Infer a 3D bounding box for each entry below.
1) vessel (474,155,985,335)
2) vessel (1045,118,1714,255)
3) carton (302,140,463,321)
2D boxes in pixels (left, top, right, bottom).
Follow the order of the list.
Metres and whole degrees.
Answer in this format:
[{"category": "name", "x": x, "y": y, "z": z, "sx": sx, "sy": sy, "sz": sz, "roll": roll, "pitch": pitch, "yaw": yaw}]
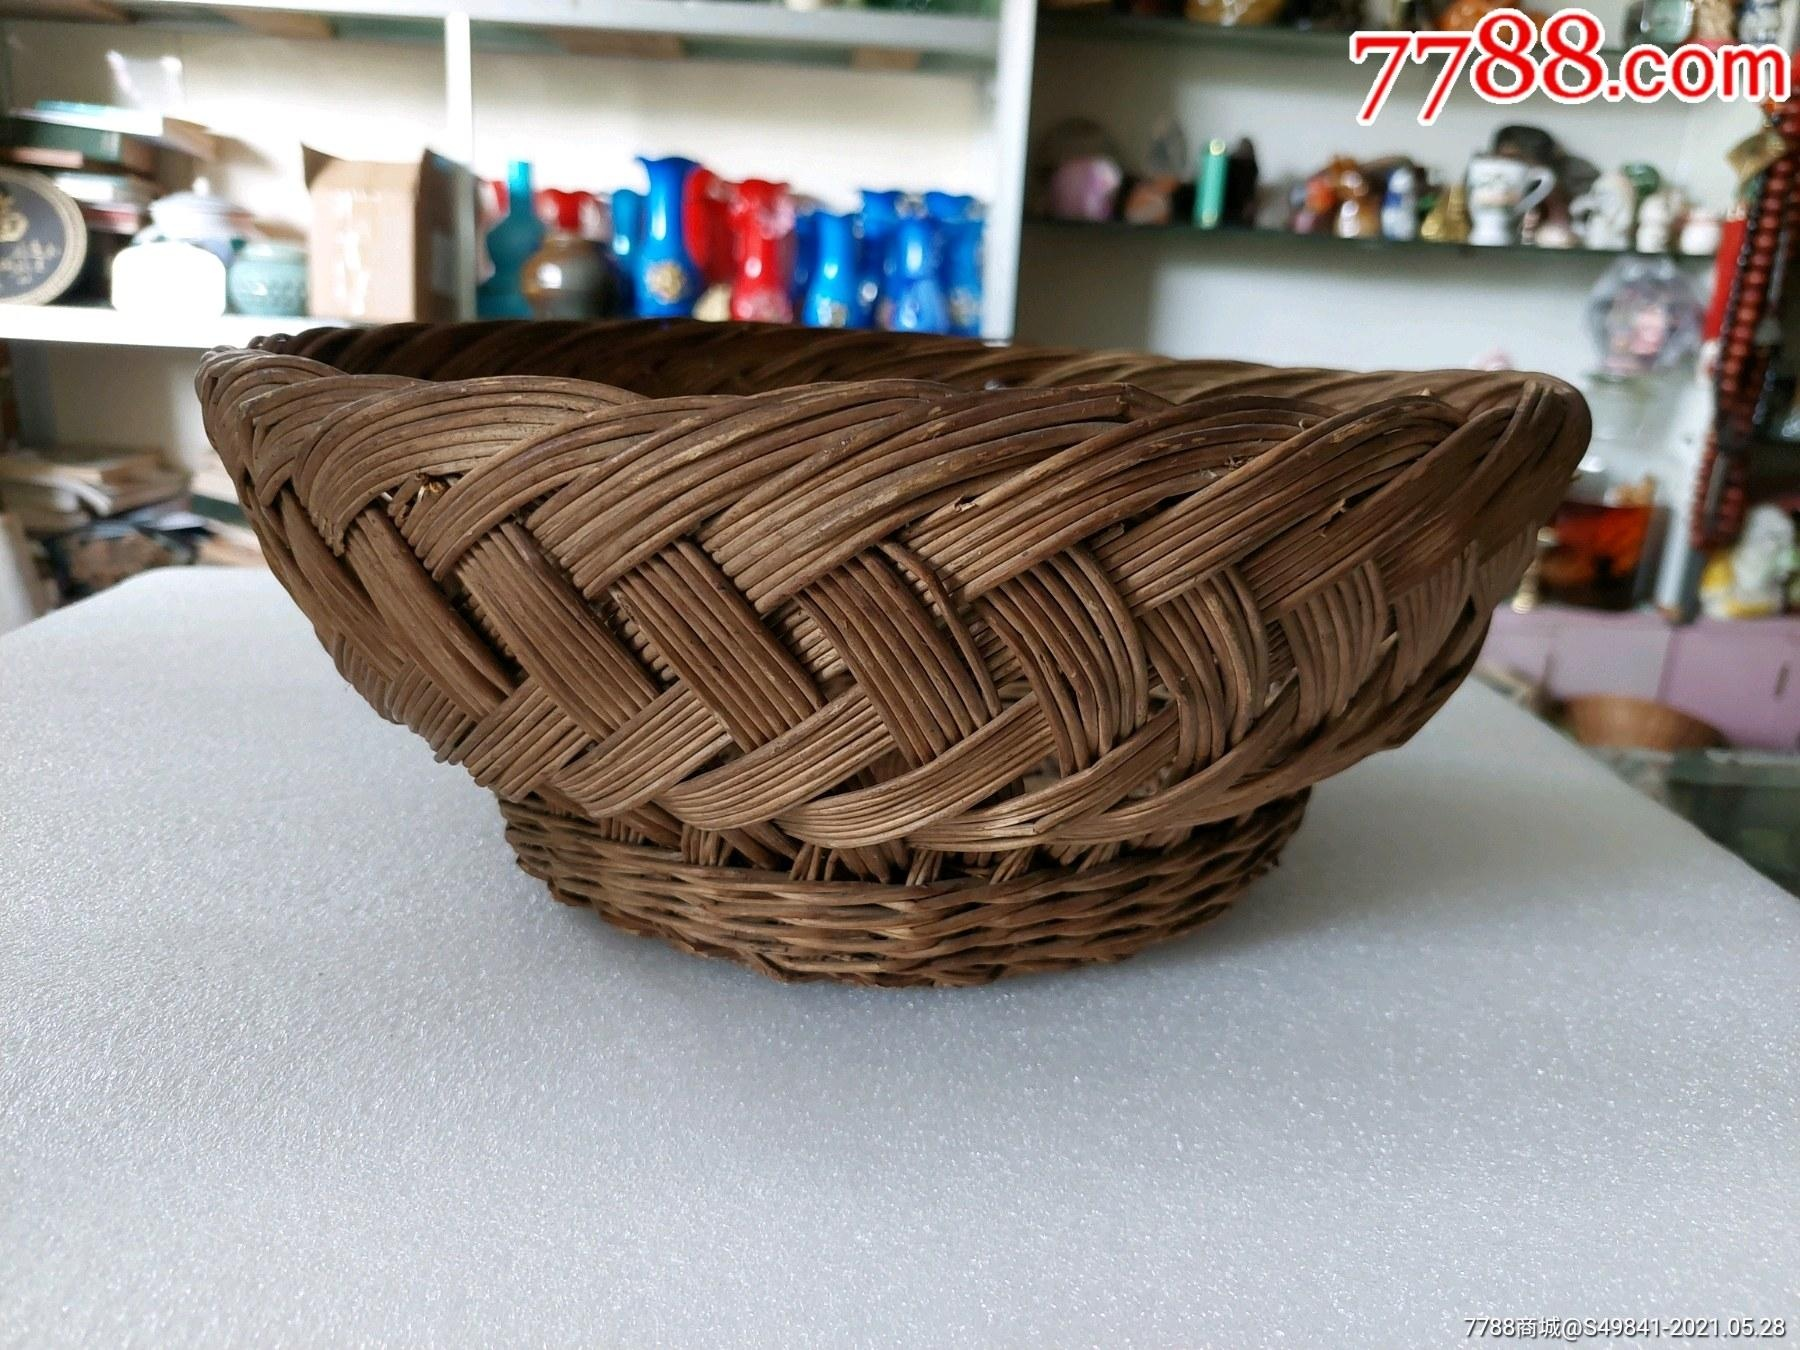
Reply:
[{"category": "vessel", "x": -0.185, "y": -0.507, "z": 1.932, "sx": 0.570, "sy": 0.192, "sz": 0.189, "roll": -1, "pitch": 19, "yaw": -5}, {"category": "vessel", "x": 0.612, "y": -0.630, "z": 2.113, "sx": 0.871, "sy": 0.160, "sz": 0.184, "roll": 1, "pitch": 18, "yaw": 0}, {"category": "carton", "x": -0.581, "y": -0.507, "z": 1.898, "sx": 0.227, "sy": 0.200, "sz": 0.229, "roll": -2, "pitch": 8, "yaw": -23}]
